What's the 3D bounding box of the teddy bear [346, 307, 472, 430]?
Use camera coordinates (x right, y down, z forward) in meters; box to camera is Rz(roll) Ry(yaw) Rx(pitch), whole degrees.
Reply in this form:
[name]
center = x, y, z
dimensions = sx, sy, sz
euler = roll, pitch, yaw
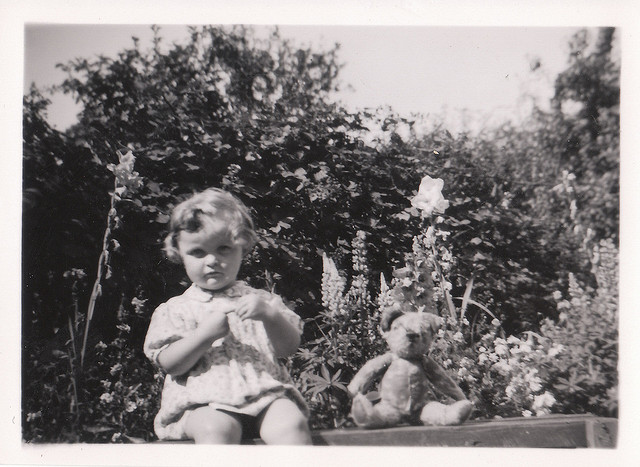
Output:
[teddy bear]
center = 0.543, 0.814, 3.918
dimensions = 0.743, 0.721, 0.421
euler = 2, -3, -6
